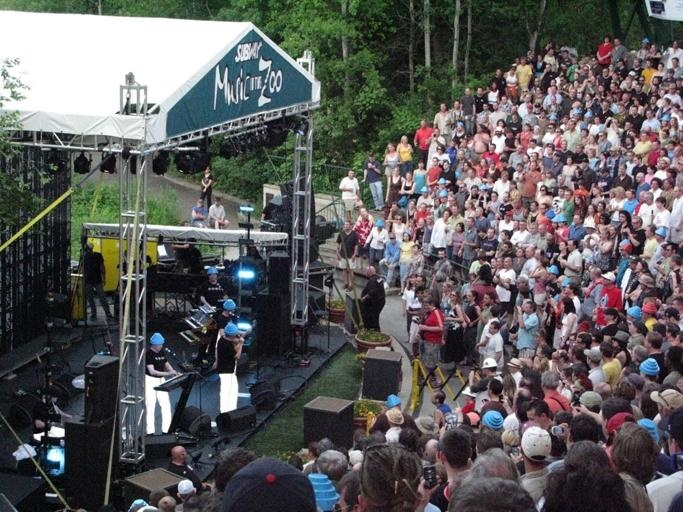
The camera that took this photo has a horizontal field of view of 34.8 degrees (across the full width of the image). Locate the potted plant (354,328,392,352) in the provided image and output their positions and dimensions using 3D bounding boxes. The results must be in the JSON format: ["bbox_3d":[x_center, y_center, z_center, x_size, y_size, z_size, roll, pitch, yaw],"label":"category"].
[{"bbox_3d":[0.719,2.017,26.100,0.575,0.293,0.587,1,2,26],"label":"potted plant"}]

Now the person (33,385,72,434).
[{"bbox_3d":[-5.758,3.122,21.445,0.691,0.988,0.714,7,5,-16],"label":"person"}]

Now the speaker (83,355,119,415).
[{"bbox_3d":[-4.402,2.448,19.992,0.324,0.800,0.655,-2,-1,39],"label":"speaker"}]

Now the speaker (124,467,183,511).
[{"bbox_3d":[-3.331,4.052,19.110,0.657,0.441,0.694,4,5,41],"label":"speaker"}]

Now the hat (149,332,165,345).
[{"bbox_3d":[-3.870,1.763,23.017,0.306,0.275,0.432,1,1,-27],"label":"hat"}]

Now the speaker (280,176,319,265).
[{"bbox_3d":[-1.099,-0.847,27.496,1.140,2.967,0.778,-6,42,-6],"label":"speaker"}]

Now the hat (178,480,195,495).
[{"bbox_3d":[-2.600,3.890,18.210,0.301,0.179,0.451,-2,18,-6],"label":"hat"}]

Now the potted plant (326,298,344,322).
[{"bbox_3d":[-0.135,1.447,28.173,0.501,0.484,0.479,1,3,11],"label":"potted plant"}]

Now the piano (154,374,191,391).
[{"bbox_3d":[-3.326,2.506,21.472,0.386,0.242,0.879,-2,-2,31],"label":"piano"}]

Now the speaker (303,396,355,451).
[{"bbox_3d":[-0.244,3.207,21.547,0.920,0.937,0.935,7,12,36],"label":"speaker"}]

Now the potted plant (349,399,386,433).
[{"bbox_3d":[0.505,3.273,22.444,0.652,0.586,0.662,2,4,22],"label":"potted plant"}]

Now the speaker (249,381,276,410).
[{"bbox_3d":[-1.723,2.999,23.262,0.568,0.548,0.471,0,6,-12],"label":"speaker"}]

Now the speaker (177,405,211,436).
[{"bbox_3d":[-2.955,3.351,22.122,0.542,0.419,0.579,-24,35,-38],"label":"speaker"}]

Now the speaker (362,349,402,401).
[{"bbox_3d":[0.798,2.598,23.610,0.886,1.195,1.222,1,1,9],"label":"speaker"}]

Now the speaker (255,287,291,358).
[{"bbox_3d":[-1.608,1.614,25.579,0.787,1.105,0.739,-1,-1,-4],"label":"speaker"}]

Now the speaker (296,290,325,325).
[{"bbox_3d":[-0.825,1.512,27.410,0.631,0.928,1.261,2,6,13],"label":"speaker"}]

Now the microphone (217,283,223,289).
[{"bbox_3d":[-2.960,0.727,26.515,0.113,0.112,0.195,-3,-15,2],"label":"microphone"}]
